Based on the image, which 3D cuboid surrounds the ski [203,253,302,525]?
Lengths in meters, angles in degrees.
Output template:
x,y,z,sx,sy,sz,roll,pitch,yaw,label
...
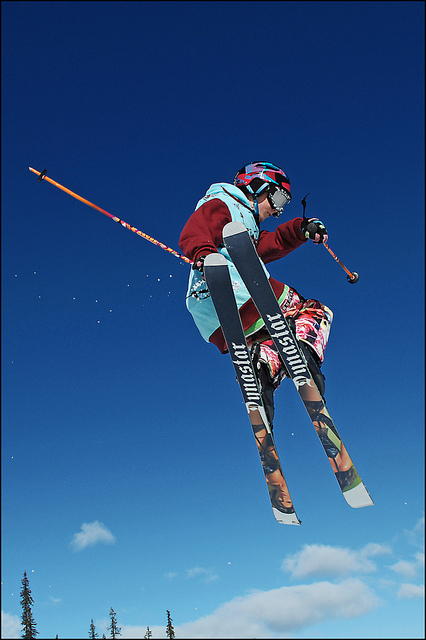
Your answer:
x,y,z,sx,sy,sz,roll,pitch,yaw,label
0.377,0.307,5.702,0.263,0.291,2.672,-14,-73,0,ski
